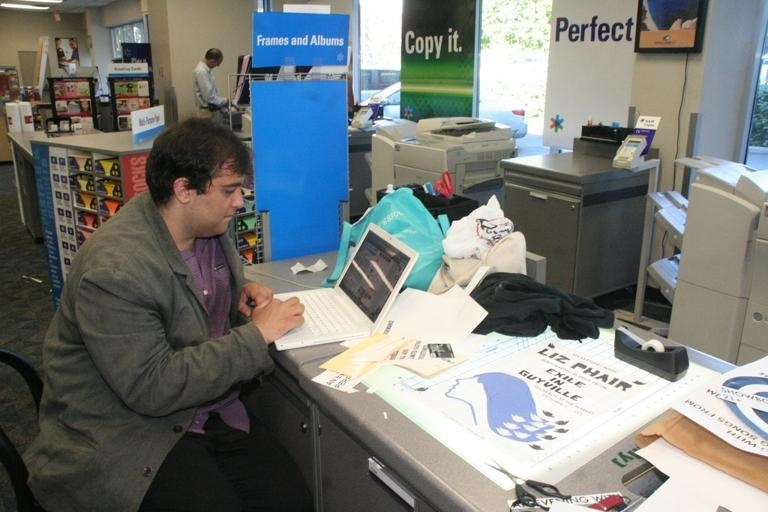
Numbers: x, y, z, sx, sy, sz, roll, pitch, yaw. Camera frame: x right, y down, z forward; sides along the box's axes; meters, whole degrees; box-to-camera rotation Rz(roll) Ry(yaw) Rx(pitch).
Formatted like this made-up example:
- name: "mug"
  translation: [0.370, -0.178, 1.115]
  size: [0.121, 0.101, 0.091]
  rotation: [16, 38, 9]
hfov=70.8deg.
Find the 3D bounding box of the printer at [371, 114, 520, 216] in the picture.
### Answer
- name: "printer"
  translation: [0.305, -0.887, 4.687]
  size: [0.798, 1.124, 1.191]
  rotation: [-14, 22, -38]
